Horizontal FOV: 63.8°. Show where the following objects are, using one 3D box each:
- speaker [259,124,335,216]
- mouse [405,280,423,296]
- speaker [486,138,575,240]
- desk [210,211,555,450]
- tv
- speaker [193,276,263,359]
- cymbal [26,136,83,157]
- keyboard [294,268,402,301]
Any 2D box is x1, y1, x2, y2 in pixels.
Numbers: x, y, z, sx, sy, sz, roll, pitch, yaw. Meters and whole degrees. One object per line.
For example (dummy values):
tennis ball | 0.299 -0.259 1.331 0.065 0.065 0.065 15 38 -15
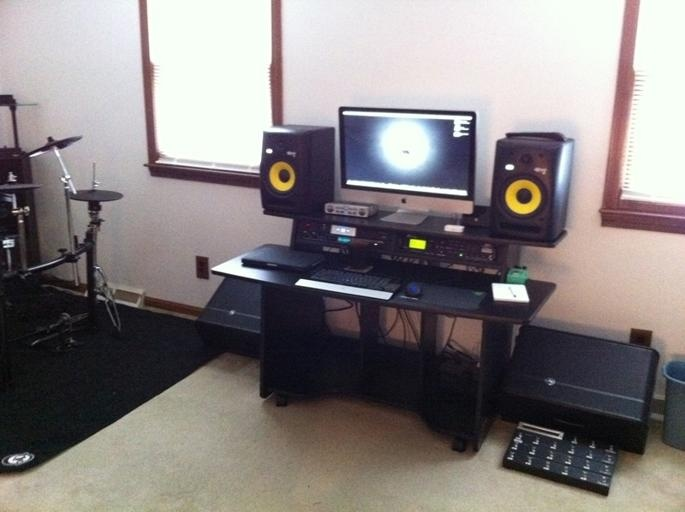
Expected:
speaker | -0.283 -0.523 3.297 0.428 0.473 0.434 -10 21 -31
mouse | 0.356 0.167 2.773 0.084 0.039 0.134 4 19 6
speaker | 0.974 -0.370 2.840 0.369 0.514 0.354 9 20 21
desk | 0.246 0.401 3.158 1.686 1.148 0.950 7 21 27
tv | 0.356 -0.548 3.050 0.780 0.548 0.199 9 22 25
speaker | -0.705 0.377 3.611 0.455 0.317 0.620 10 34 8
cymbal | -2.093 -0.807 4.050 0.275 0.064 0.276 -19 23 2
keyboard | 0.039 0.142 2.880 0.523 0.039 0.262 9 20 19
